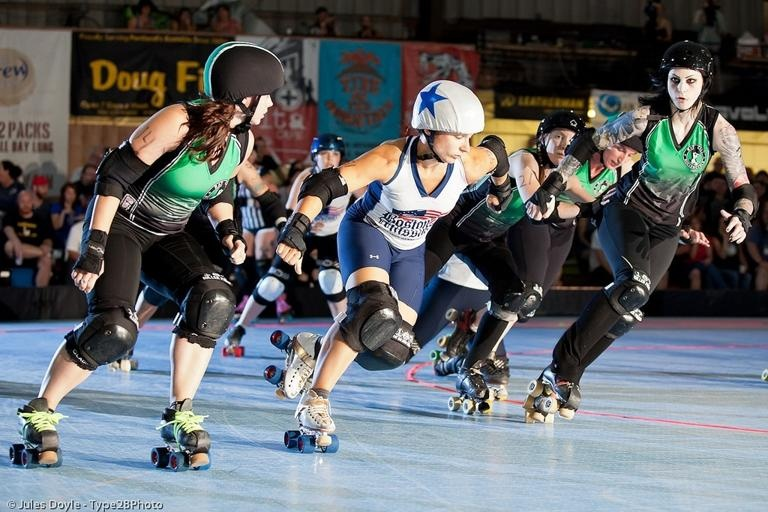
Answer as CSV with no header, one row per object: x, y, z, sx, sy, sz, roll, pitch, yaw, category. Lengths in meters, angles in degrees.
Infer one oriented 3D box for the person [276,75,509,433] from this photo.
-0.025,-0.024,6.740,1.359,2.385,0.553,-2,7,-17,person

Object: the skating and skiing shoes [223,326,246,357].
-1.550,0.882,9.797,0.164,0.233,0.359,1,-4,-2,skating and skiing shoes

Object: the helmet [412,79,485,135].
0.461,-1.032,6.680,0.427,0.397,0.345,18,22,34,helmet

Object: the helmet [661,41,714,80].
2.254,-1.469,7.159,0.398,0.284,0.407,5,7,12,helmet

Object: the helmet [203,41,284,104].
-0.945,-1.215,6.405,0.523,0.464,0.395,-1,7,-35,helmet

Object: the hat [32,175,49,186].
-4.786,-1.011,13.124,0.240,0.182,0.313,-1,2,-38,hat

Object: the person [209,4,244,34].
-2.633,-3.873,15.673,0.515,0.523,0.847,-1,7,-10,person

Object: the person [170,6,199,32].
-3.268,-3.785,15.376,0.392,0.431,0.816,-1,7,-12,person
